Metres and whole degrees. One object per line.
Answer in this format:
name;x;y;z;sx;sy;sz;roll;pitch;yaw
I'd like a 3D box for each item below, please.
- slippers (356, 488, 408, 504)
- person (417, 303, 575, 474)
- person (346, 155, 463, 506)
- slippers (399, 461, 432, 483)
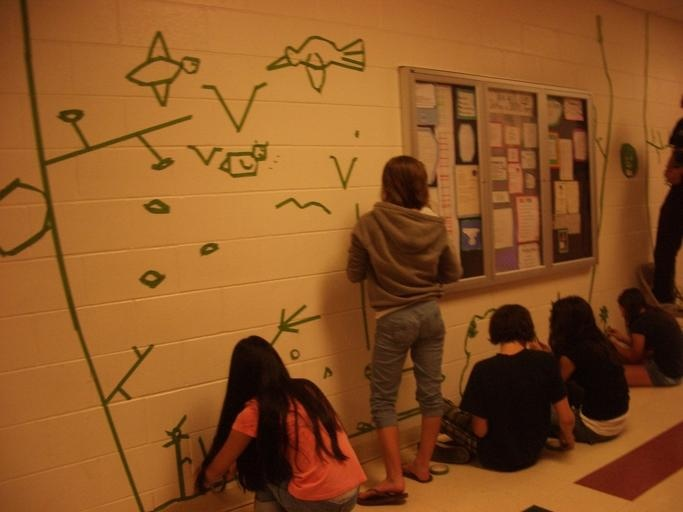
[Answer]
slippers;0.213;1.299;2.621;0.240;0.072;0.102;2;-3;1
person;0.961;0.717;3.201;0.935;1.212;0.880;-3;0;-9
person;0.344;0.373;2.717;0.613;1.838;0.469;-1;7;10
slippers;0.425;1.251;2.827;0.069;0.050;0.179;0;-6;-27
